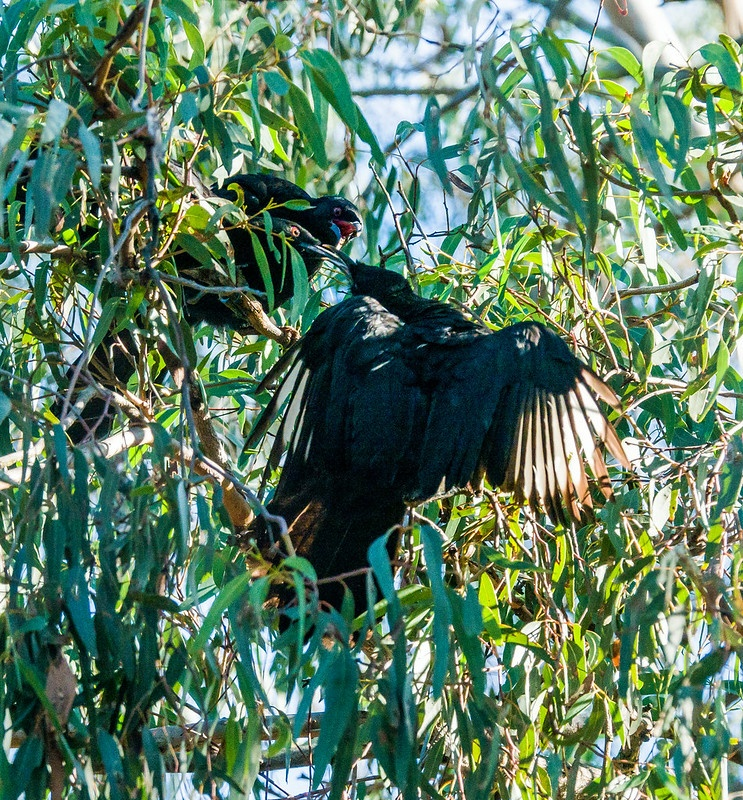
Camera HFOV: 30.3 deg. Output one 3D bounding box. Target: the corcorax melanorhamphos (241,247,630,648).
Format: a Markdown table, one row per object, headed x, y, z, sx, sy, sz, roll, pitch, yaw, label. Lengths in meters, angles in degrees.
| x | y | z | sx | sy | sz | roll | pitch | yaw | label |
| --- | --- | --- | --- | --- | --- | --- | --- | --- | --- |
| 0.111 | 0.028 | 3.119 | 0.839 | 0.851 | 0.582 | -13 | -22 | 2 | corcorax melanorhamphos |
